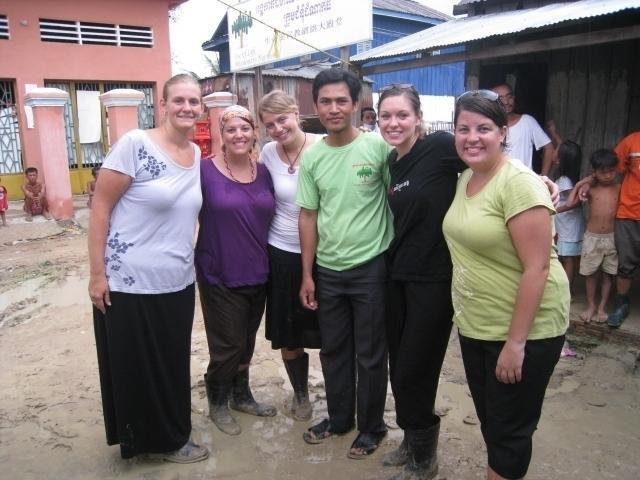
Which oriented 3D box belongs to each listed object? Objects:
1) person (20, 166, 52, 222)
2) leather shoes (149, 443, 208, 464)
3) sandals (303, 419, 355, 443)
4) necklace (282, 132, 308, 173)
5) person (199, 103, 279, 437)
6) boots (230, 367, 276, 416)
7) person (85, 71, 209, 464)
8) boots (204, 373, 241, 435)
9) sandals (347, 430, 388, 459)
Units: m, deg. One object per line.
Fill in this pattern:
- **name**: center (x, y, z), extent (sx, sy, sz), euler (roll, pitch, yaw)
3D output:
- **person**: center (-5.535, -0.873, 9.809), extent (0.394, 0.965, 0.392), euler (-8, 14, -34)
- **leather shoes**: center (-0.940, 1.436, 3.371), extent (0.330, 0.147, 0.142), euler (-4, 9, -7)
- **sandals**: center (0.065, 1.332, 3.637), extent (0.345, 0.132, 0.146), euler (-5, 12, -20)
- **necklace**: center (-0.173, -0.607, 3.690), extent (0.178, 0.261, 0.255), euler (-3, -15, 7)
- **person**: center (-0.578, 0.238, 3.606), extent (0.571, 2.299, 0.368), euler (-5, 13, -24)
- **boots**: center (-0.506, 1.184, 3.932), extent (0.382, 0.387, 0.178), euler (6, 15, 16)
- **person**: center (-1.102, 0.222, 3.284), extent (0.726, 2.521, 0.460), euler (-3, 12, -13)
- **boots**: center (-0.709, 1.209, 3.700), extent (0.167, 0.358, 0.444), euler (2, 6, -36)
- **sandals**: center (0.296, 1.392, 3.427), extent (0.108, 0.106, 0.261), euler (-1, 1, 35)
